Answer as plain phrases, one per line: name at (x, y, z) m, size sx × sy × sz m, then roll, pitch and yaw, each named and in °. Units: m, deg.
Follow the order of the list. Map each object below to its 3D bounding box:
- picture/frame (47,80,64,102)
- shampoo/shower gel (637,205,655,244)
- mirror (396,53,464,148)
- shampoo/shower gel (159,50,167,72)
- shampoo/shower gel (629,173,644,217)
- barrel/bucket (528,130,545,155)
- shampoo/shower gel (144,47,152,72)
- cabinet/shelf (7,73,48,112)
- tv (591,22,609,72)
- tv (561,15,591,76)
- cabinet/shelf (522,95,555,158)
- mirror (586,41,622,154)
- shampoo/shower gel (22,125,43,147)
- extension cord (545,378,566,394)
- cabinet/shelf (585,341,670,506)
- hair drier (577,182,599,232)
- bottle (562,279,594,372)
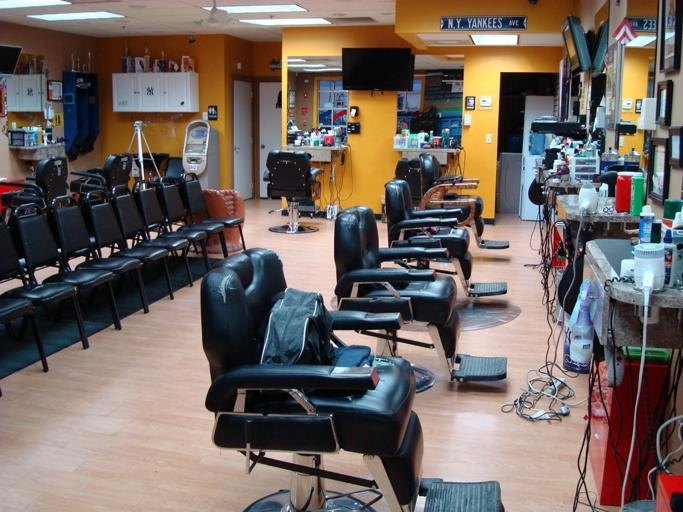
picture/frame at (-5.590, -3.242, 10.583) m, size 0.083 × 0.365 × 0.376 m, roll 5°, pitch 10°, yaw 14°
shampoo/shower gel at (1.365, -0.139, 2.434) m, size 0.048 × 0.203 × 0.051 m, roll 2°, pitch 25°, yaw 29°
mirror at (1.887, -3.209, 11.426) m, size 1.089 × 2.006 × 1.151 m, roll -3°, pitch 17°, yaw 9°
shampoo/shower gel at (-3.718, -4.054, 11.259) m, size 0.170 × 0.425 × 0.317 m, roll -5°, pitch 13°, yaw -17°
shampoo/shower gel at (1.938, -0.407, 3.558) m, size 0.078 × 0.268 × 0.086 m, roll 6°, pitch 14°, yaw 29°
barrel/bucket at (3.533, -2.037, 9.790) m, size 0.206 × 0.395 × 0.718 m, roll 0°, pitch 14°, yaw 5°
shampoo/shower gel at (-4.063, -4.129, 11.372) m, size 0.144 × 0.489 × 0.233 m, roll -4°, pitch 13°, yaw -12°
cabinet/shelf at (-5.932, -3.097, 10.188) m, size 0.648 × 0.695 × 0.395 m, roll -1°, pitch 12°, yaw -12°
tv at (2.795, -2.234, 5.850) m, size 0.086 × 0.377 × 0.381 m, roll 8°, pitch 15°, yaw 10°
tv at (2.904, -2.627, 6.707) m, size 0.294 × 0.678 × 1.167 m, roll 3°, pitch 14°, yaw 19°
cabinet/shelf at (3.904, -2.601, 10.729) m, size 0.743 × 1.224 × 0.815 m, roll -2°, pitch 9°, yaw -14°
mirror at (2.580, -1.541, 5.242) m, size 0.195 × 1.053 × 0.994 m, roll 4°, pitch 14°, yaw 23°
shampoo/shower gel at (-5.584, -2.199, 9.938) m, size 0.224 × 0.348 × 0.525 m, roll 0°, pitch 13°, yaw 3°
extension cord at (1.491, 0.923, 3.803) m, size 0.111 × 0.051 × 0.265 m, roll 7°, pitch 16°, yaw 30°
cabinet/shelf at (1.376, 0.793, 2.576) m, size 0.246 × 0.795 × 0.818 m, roll 4°, pitch 5°, yaw 16°
hair drier at (1.685, -0.355, 3.765) m, size 0.132 × 0.232 × 0.404 m, roll 0°, pitch 31°, yaw 19°
bottle at (1.080, 0.321, 2.421) m, size 0.125 × 0.439 × 0.128 m, roll -5°, pitch 30°, yaw 3°
